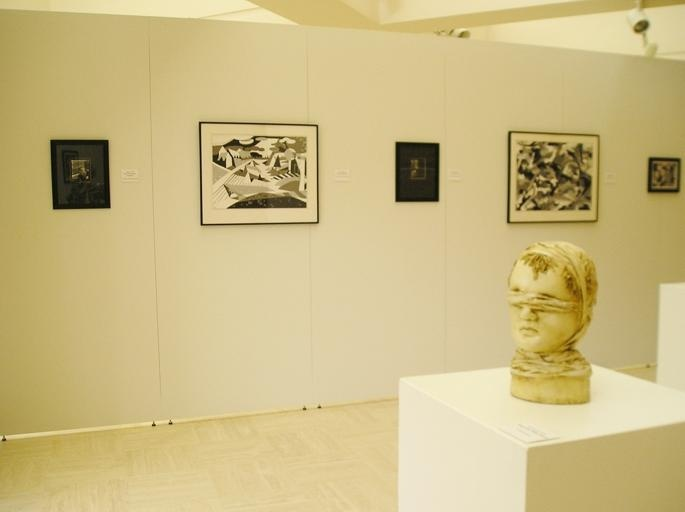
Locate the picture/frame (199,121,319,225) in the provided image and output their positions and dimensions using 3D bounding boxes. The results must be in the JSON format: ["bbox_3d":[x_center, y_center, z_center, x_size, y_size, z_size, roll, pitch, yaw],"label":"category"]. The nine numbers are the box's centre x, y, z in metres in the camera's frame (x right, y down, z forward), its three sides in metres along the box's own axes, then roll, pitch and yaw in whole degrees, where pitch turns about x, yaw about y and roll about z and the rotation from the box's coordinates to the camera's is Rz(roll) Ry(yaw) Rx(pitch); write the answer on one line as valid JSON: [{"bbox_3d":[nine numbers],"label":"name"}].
[{"bbox_3d":[-0.902,-0.849,5.492,0.948,0.886,0.020,-1,3,-13],"label":"picture/frame"}]

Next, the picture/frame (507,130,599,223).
[{"bbox_3d":[2.399,-0.936,6.341,0.980,0.919,0.034,2,-3,-20],"label":"picture/frame"}]

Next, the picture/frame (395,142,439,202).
[{"bbox_3d":[0.805,-0.941,5.938,0.470,0.646,0.031,1,-13,4],"label":"picture/frame"}]

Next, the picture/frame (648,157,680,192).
[{"bbox_3d":[3.983,-1.025,6.788,0.402,0.383,0.033,-1,4,-16],"label":"picture/frame"}]
